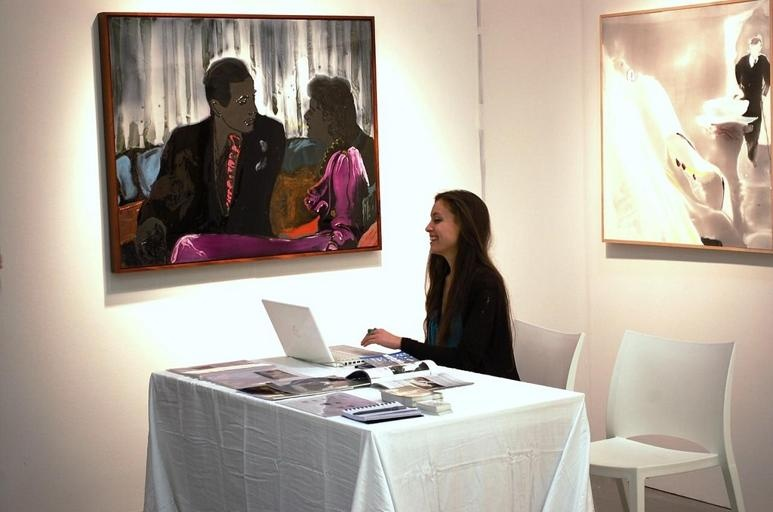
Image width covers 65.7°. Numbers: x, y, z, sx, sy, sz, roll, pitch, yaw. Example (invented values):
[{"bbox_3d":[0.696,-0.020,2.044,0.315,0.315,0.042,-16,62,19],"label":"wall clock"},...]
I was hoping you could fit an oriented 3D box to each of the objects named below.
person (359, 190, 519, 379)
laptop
[{"bbox_3d":[0.367,0.344,3.452,0.850,1.405,0.775,2,-1,-13],"label":"person"},{"bbox_3d":[-0.328,0.374,3.078,0.507,0.317,0.558,-1,3,36],"label":"laptop"}]
